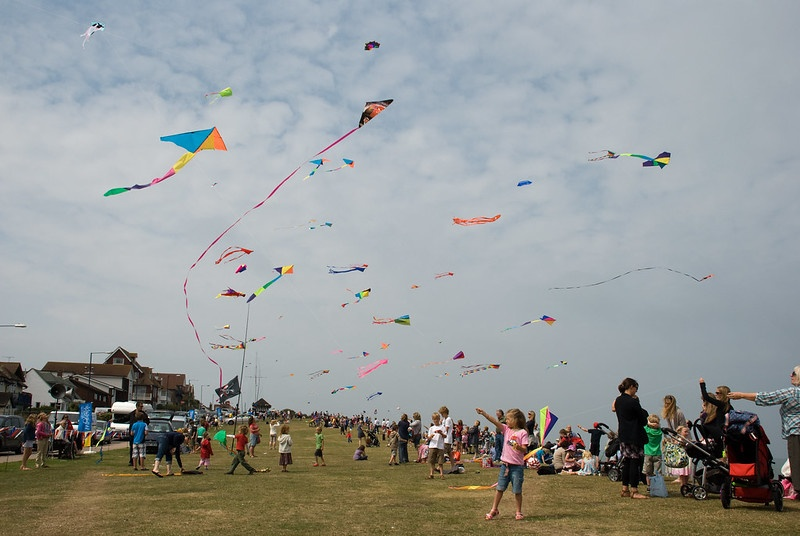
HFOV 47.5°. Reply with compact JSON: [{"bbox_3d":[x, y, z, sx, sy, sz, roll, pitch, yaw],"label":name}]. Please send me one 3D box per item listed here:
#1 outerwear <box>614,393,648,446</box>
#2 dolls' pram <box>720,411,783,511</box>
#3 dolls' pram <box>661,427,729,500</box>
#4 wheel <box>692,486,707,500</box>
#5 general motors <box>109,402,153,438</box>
[{"bbox_3d":[6.124,4.075,24.267,0.822,1.426,0.652,-2,-18,12],"label":"outerwear"},{"bbox_3d":[8.812,4.963,23.191,1.392,2.433,1.071,-4,-19,18],"label":"dolls' pram"},{"bbox_3d":[8.117,5.316,24.948,2.074,1.678,1.281,-4,-9,1],"label":"dolls' pram"},{"bbox_3d":[8.009,6.084,24.475,0.327,0.311,0.113,-15,-1,-12],"label":"wheel"},{"bbox_3d":[-16.693,8.936,56.015,2.109,2.286,3.901,-1,8,-11],"label":"general motors"}]
